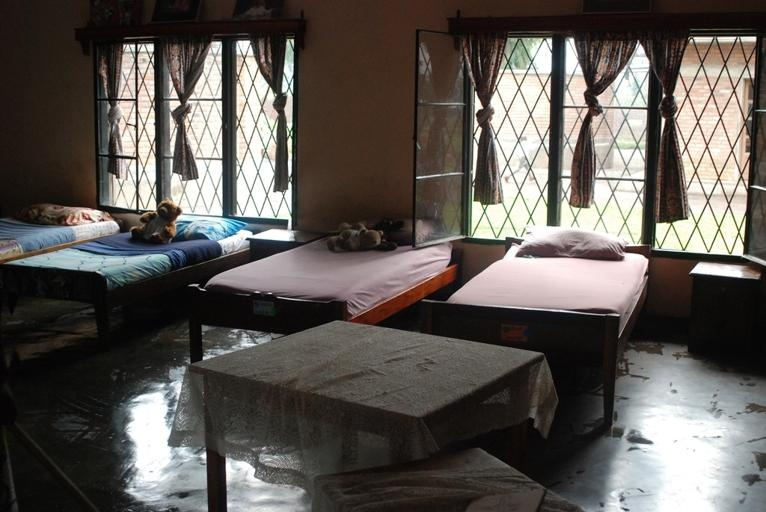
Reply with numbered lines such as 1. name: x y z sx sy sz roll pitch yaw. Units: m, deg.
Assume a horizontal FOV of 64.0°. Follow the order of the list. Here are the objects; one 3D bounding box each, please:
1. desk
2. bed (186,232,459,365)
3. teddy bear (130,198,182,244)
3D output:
1. desk: -0.065 0.608 2.838 1.048 0.645 1.140 4 9 31
2. bed: -0.329 0.203 5.175 0.957 0.618 1.756 3 8 25
3. teddy bear: -2.304 -0.362 6.342 0.399 0.518 0.310 17 -5 13
